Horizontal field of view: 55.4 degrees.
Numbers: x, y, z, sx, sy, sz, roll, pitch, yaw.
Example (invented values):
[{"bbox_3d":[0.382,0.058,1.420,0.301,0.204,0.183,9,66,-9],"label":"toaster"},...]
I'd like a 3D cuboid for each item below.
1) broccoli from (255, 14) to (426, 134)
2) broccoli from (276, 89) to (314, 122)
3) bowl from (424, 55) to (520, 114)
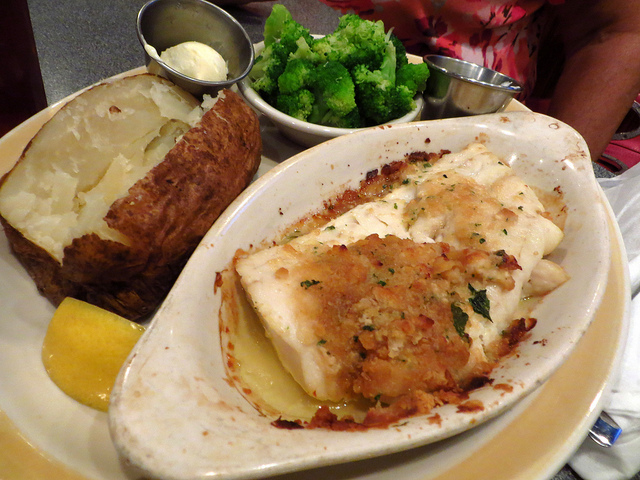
[{"bbox_3d":[0.104,-0.744,2.751,0.646,0.301,0.647,-29,69,-29],"label":"broccoli"},{"bbox_3d":[-0.100,-0.594,2.740,0.145,0.046,0.151,41,78,5],"label":"broccoli"},{"bbox_3d":[0.679,-0.648,2.831,0.341,0.160,0.346,11,34,-7],"label":"bowl"}]
